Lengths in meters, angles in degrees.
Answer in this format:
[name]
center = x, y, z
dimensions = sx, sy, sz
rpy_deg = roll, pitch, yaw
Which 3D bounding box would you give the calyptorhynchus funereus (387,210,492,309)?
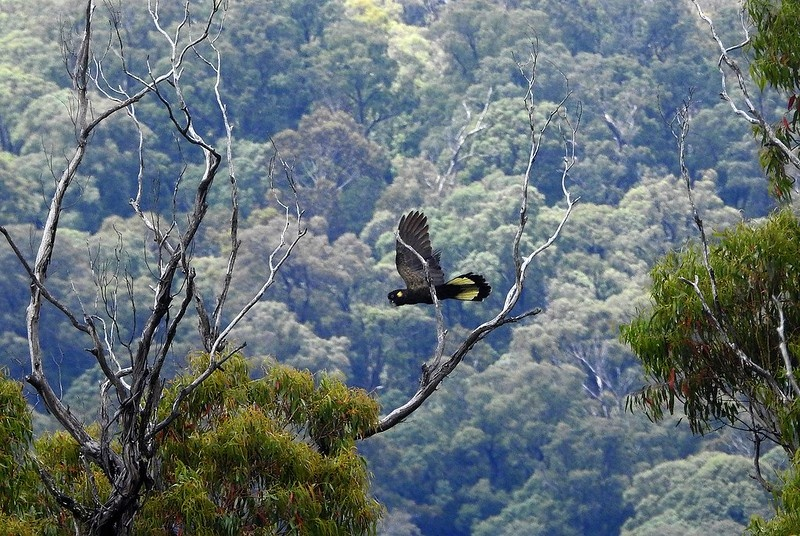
[calyptorhynchus funereus]
center = 1.896, 0.177, 68.249
dimensions = 3.357, 4.943, 2.447
rpy_deg = -18, -26, 30
